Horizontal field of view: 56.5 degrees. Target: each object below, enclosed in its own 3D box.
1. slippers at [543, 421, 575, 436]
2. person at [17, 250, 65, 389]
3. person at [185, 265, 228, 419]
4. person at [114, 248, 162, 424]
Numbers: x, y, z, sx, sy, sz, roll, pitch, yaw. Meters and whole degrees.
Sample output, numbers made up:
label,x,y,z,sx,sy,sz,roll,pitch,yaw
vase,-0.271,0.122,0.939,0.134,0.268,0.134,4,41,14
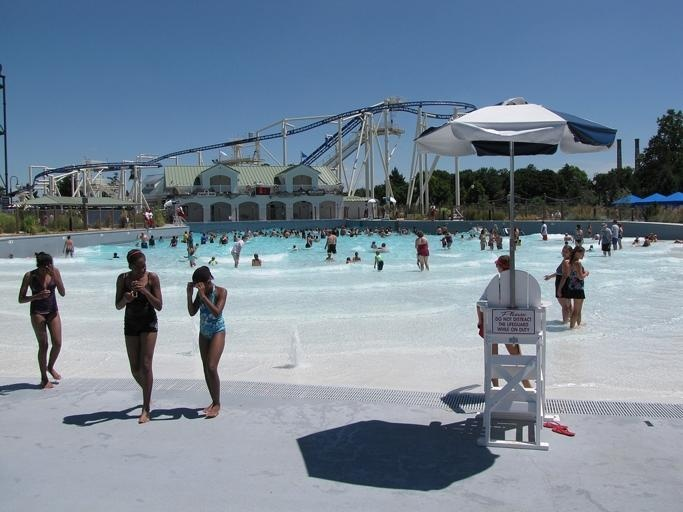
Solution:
label,x,y,z,sx,sy,sz,roll,pitch,yaw
slippers,2.124,1.687,6.214,0.092,0.068,0.250,-2,8,-33
person,-3.547,0.743,7.539,0.468,1.556,0.574,0,4,-1
person,-1.449,0.869,6.865,0.403,1.534,0.825,-1,4,-11
person,-2.078,0.802,6.629,0.444,1.723,0.580,-4,6,-39
